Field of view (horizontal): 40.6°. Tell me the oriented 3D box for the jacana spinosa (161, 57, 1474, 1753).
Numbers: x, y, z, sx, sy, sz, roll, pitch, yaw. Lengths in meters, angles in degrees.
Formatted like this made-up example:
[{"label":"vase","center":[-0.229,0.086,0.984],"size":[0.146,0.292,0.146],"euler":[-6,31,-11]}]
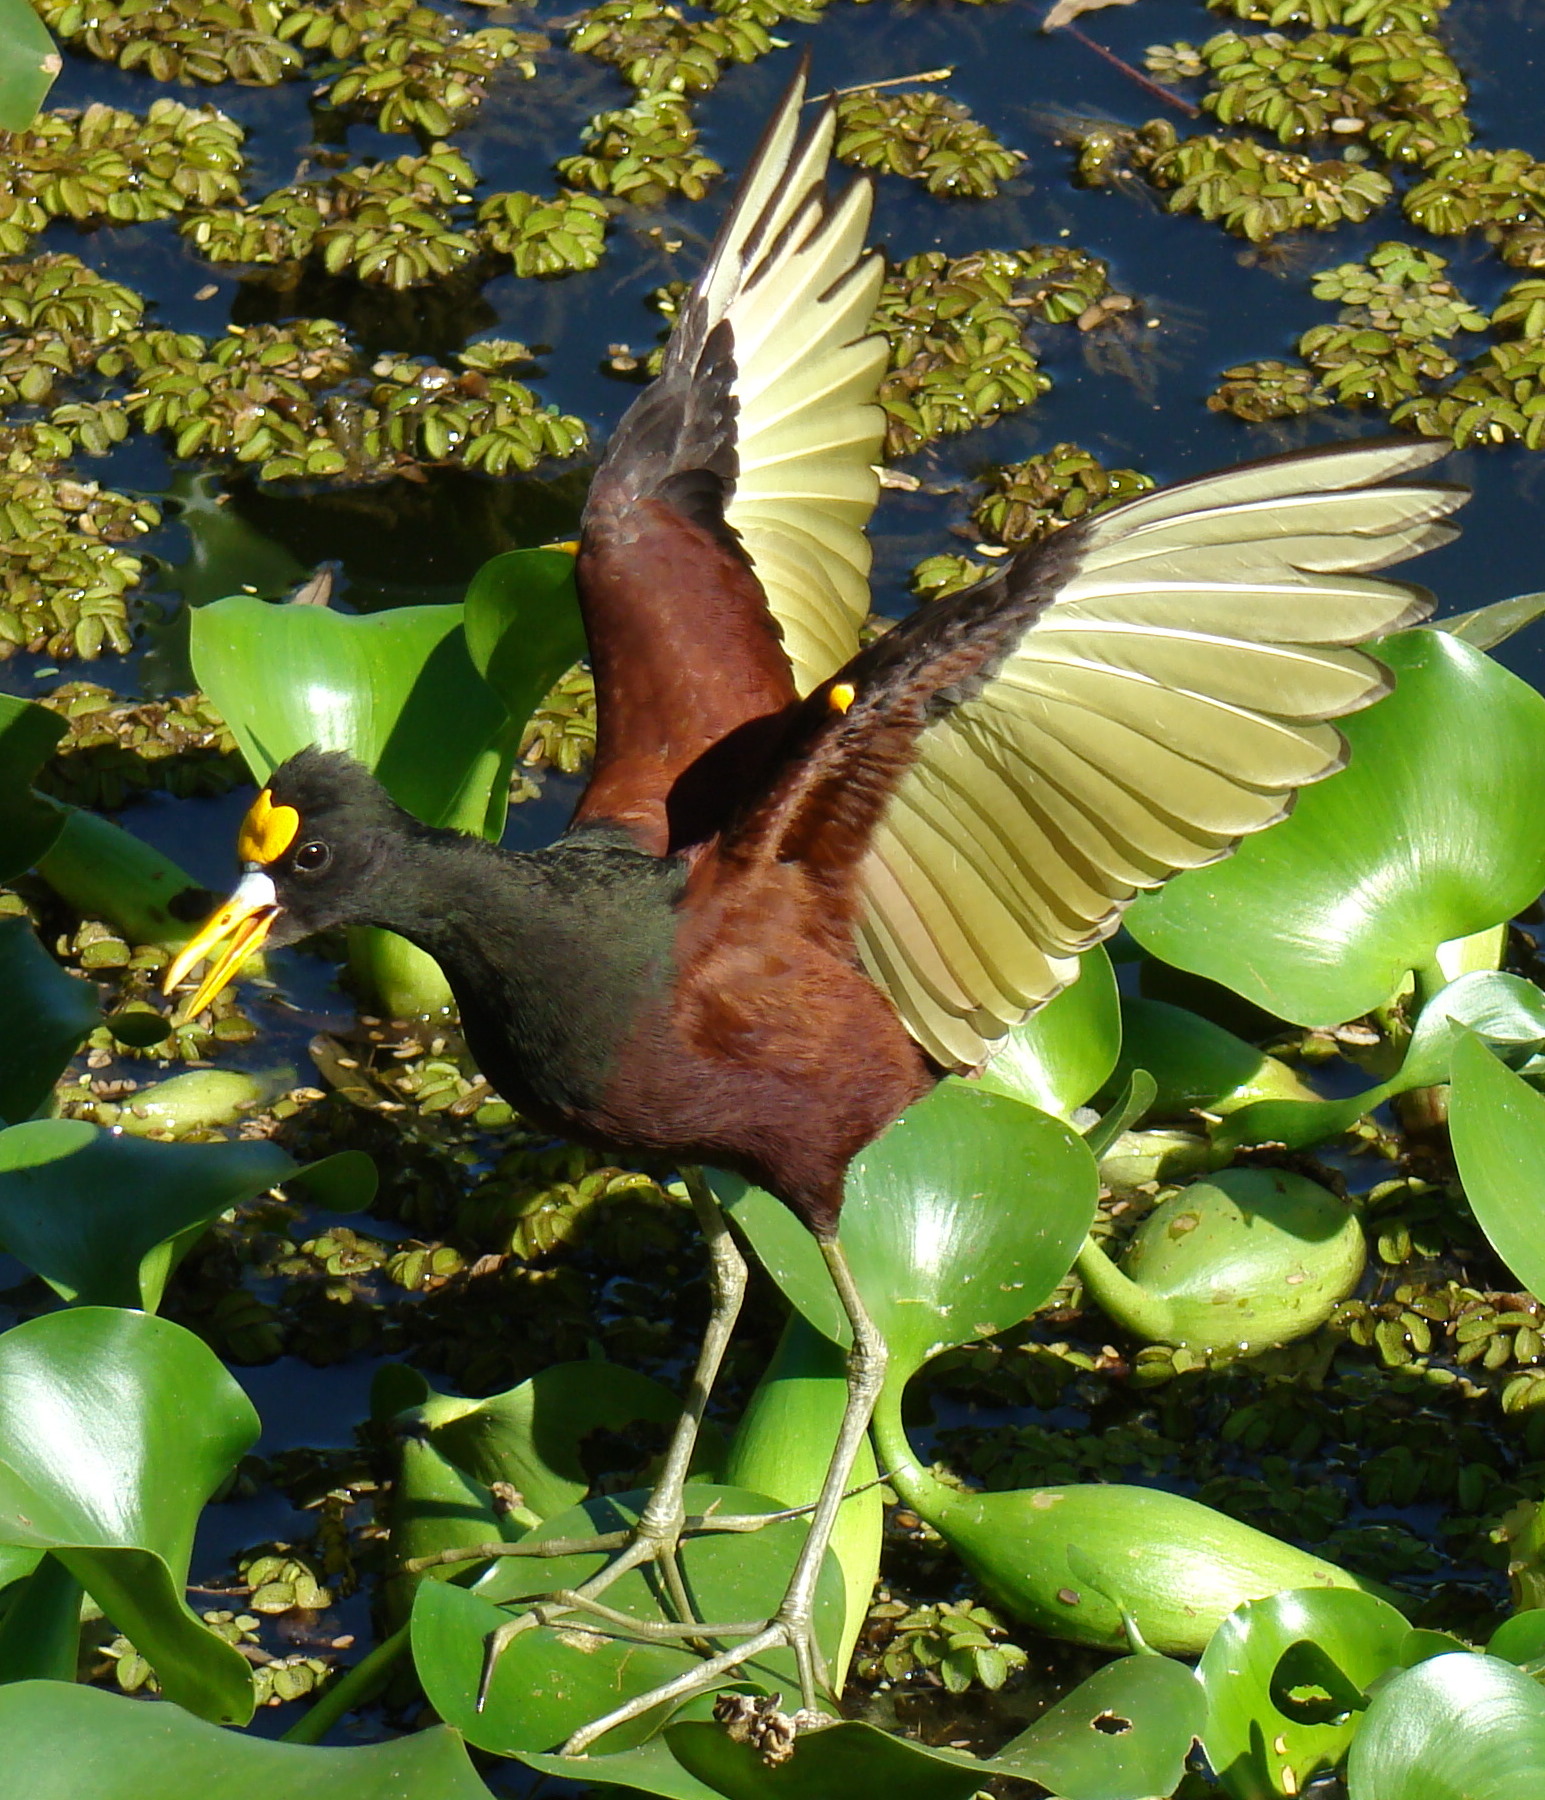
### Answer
[{"label":"jacana spinosa","center":[-0.033,0.147,2.210],"size":[1.109,1.054,1.381],"euler":[-2,-8,-17]}]
